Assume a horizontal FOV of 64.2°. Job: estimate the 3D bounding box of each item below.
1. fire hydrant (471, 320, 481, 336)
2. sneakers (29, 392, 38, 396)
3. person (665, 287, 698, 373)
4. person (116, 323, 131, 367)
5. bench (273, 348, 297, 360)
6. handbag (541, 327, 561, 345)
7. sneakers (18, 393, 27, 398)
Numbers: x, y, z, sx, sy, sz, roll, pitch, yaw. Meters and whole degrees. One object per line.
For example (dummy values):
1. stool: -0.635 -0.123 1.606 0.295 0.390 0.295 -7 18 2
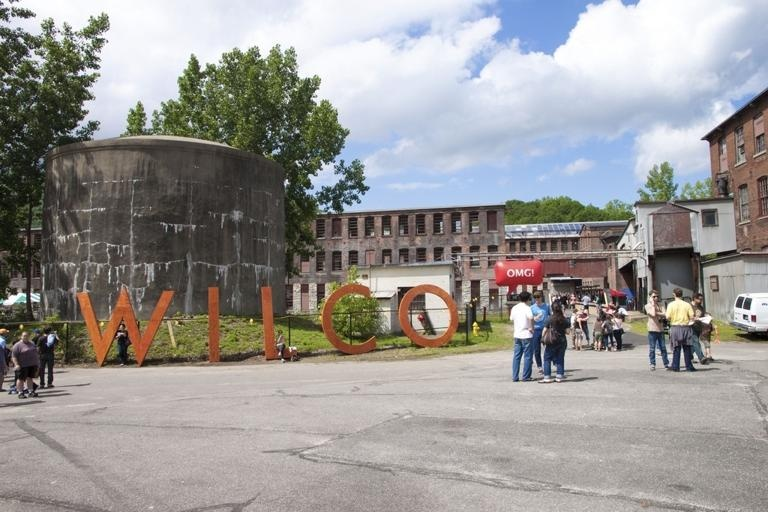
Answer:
1. fire hydrant: 5.365 4.249 35.848 0.735 1.208 0.768 1 -4 13
2. sneakers: -10.771 4.235 18.864 0.222 0.152 0.143 -4 -5 20
3. person: 9.121 2.254 18.856 0.761 2.509 1.118 0 1 27
4. person: -11.210 3.721 26.435 0.558 1.818 0.833 -1 1 -23
5. bench: -4.210 4.221 26.589 0.745 0.515 0.452 2 -4 8
6. handbag: 4.753 2.258 17.401 0.505 0.669 0.352 2 5 40
7. sneakers: -10.925 4.215 18.580 0.184 0.119 0.410 -1 0 -34
